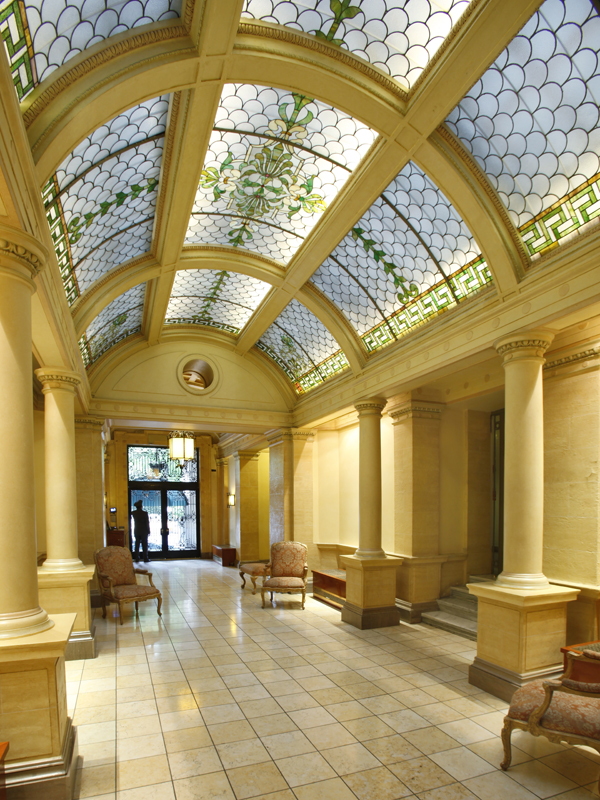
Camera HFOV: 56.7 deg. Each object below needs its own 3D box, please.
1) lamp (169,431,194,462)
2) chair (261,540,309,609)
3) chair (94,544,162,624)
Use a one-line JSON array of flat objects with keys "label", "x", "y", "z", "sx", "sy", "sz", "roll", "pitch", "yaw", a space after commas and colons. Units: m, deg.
[{"label": "lamp", "x": -2.600, "y": 1.026, "z": 12.226, "sx": 0.485, "sy": 0.696, "sz": 1.066, "roll": 2, "pitch": -10, "yaw": -14}, {"label": "chair", "x": -0.258, "y": 3.215, "z": 10.253, "sx": 1.014, "sy": 1.136, "sz": 1.015, "roll": 5, "pitch": -9, "yaw": -25}, {"label": "chair", "x": -2.879, "y": 3.037, "z": 9.256, "sx": 0.900, "sy": 1.119, "sz": 0.810, "roll": -10, "pitch": -12, "yaw": 42}]
